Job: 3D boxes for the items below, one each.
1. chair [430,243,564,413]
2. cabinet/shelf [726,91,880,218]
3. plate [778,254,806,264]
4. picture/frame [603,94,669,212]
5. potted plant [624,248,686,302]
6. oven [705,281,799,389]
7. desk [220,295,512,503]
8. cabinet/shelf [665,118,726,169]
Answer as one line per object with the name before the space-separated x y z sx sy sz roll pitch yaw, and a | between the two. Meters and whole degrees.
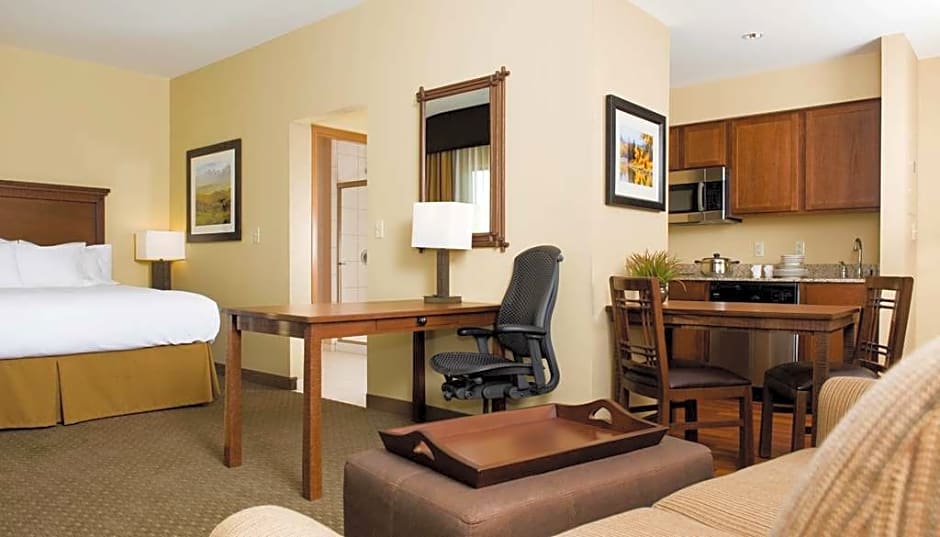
chair | 0.173 0.618 4.962 1.015 1.564 0.937 0 0 -44
cabinet/shelf | 3.607 -1.217 6.650 1.506 1.184 0.529 -1 -4 33
plate | 3.501 -0.089 6.807 0.147 0.100 0.143 0 0 -15
picture/frame | 1.385 -0.981 5.321 0.091 1.042 1.163 -1 -2 40
potted plant | 1.628 0.036 5.355 0.539 0.478 0.528 -6 -8 36
oven | 3.138 0.554 6.719 0.899 1.147 0.821 15 -25 -14
desk | -1.006 0.552 4.899 2.412 1.433 1.364 -1 4 -42
cabinet/shelf | 2.629 -1.410 7.218 0.661 0.560 0.204 5 14 20
